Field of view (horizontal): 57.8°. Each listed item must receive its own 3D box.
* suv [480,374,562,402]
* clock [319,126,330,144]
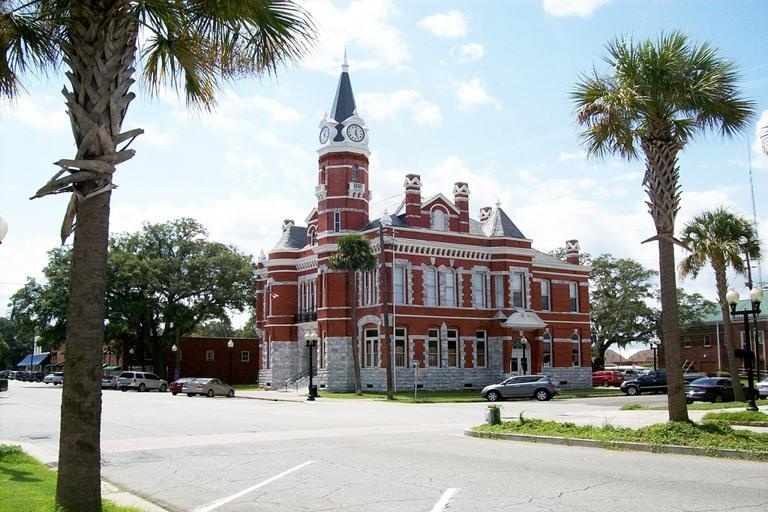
[{"bbox_3d":[8.395,8.282,43.298,4.181,1.375,1.893,1,-9,2],"label":"suv"},{"bbox_3d":[-4.719,-9.683,55.501,0.148,1.288,1.115,9,-14,-37],"label":"clock"}]
